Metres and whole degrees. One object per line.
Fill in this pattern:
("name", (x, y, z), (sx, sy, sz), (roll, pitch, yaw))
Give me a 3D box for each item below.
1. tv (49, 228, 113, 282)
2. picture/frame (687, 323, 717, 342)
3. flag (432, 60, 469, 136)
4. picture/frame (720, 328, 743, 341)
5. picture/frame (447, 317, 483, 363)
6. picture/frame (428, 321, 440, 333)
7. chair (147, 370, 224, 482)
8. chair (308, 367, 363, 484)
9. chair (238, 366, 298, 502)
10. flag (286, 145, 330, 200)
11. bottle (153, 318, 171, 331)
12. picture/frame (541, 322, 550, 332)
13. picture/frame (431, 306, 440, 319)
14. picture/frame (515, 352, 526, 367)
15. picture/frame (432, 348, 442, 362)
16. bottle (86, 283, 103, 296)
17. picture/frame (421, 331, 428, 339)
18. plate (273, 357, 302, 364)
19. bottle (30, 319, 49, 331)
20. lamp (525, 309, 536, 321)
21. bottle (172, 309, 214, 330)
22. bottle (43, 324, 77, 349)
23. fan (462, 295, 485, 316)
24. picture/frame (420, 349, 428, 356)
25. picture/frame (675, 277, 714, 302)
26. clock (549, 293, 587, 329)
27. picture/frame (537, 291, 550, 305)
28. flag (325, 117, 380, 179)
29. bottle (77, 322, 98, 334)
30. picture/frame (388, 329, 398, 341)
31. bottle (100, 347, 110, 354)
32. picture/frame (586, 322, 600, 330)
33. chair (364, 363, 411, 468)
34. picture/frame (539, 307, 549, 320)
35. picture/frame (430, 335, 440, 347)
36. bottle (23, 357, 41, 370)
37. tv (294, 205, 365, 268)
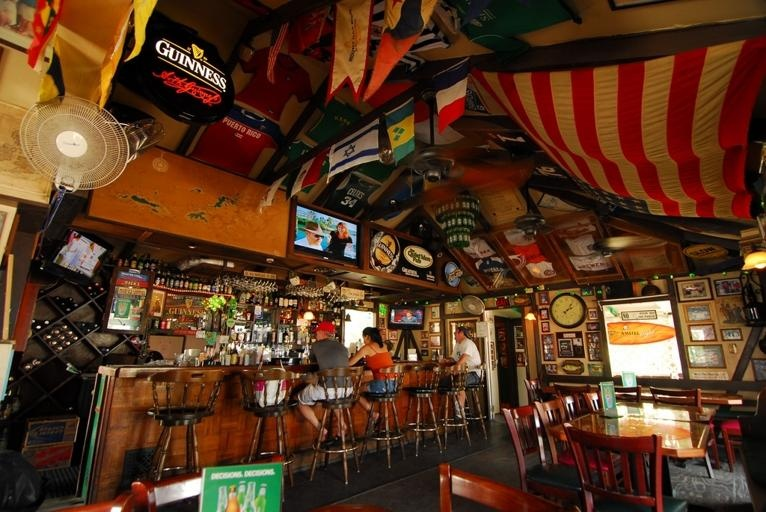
("tv", (-4.499, -0.027, 6.787), (0.181, 0.589, 0.645), (18, -17, 11))
("picture/frame", (5.635, 1.331, 8.035), (0.033, 0.302, 0.307), (15, -23, -33))
("flag", (0.788, -1.883, 5.298), (0.682, 0.710, 0.103), (-31, -35, 33))
("picture/frame", (5.950, 1.320, 7.788), (0.035, 0.195, 0.244), (24, -16, -29))
("picture/frame", (1.748, 1.754, 9.583), (0.651, 0.903, 0.666), (1, -45, 9))
("picture/frame", (1.243, 1.751, 11.385), (0.285, 0.236, 0.065), (0, -12, 30))
("chair", (-2.289, 1.892, 5.295), (0.791, 1.257, 0.823), (3, -5, -18))
("chair", (-0.637, 2.160, 6.217), (0.678, 1.404, 1.065), (3, -5, -8))
("chair", (-1.435, 2.122, 5.676), (0.699, 1.534, 0.746), (3, -5, -9))
("flag", (-1.176, -1.340, 7.026), (0.085, 0.766, 0.713), (34, -36, -25))
("bottle", (-3.903, 1.214, 8.147), (0.237, 0.199, 0.221), (-3, -15, 6))
("picture/frame", (3.450, 1.477, 9.679), (0.180, 0.239, 0.060), (-1, -6, 29))
("picture/frame", (1.324, 1.379, 11.511), (0.307, 0.362, 0.051), (-3, -7, 43))
("picture/frame", (3.279, 2.446, 10.890), (0.075, 0.261, 0.282), (8, -11, -34))
("picture/frame", (1.314, 2.359, 11.185), (0.189, 0.254, 0.330), (4, -5, -20))
("bottle", (-4.740, 0.558, 7.555), (0.258, 0.236, 0.113), (5, -6, -32))
("picture/frame", (1.067, 1.979, 11.593), (0.218, 0.185, 0.110), (-3, -11, 39))
("plate", (-1.461, 1.568, 6.861), (0.234, 0.052, 0.249), (-5, -10, 34))
("bottle", (-5.291, 1.051, 7.086), (0.308, 0.153, 0.175), (2, 15, 39))
("lamp", (3.156, 1.266, 9.879), (0.249, 0.216, 0.182), (-2, -6, 41))
("bottle", (-3.519, 1.182, 8.466), (0.644, 0.312, 0.404), (5, 11, -16))
("bottle", (-5.081, 1.273, 7.273), (0.208, 0.380, 0.389), (-30, 10, 19))
("fan", (2.080, 1.120, 10.425), (0.454, 0.474, 0.673), (0, -5, 17))
("picture/frame", (1.045, 2.397, 11.400), (0.218, 0.187, 0.023), (-5, -28, 32))
("picture/frame", (5.608, 0.588, 8.181), (0.034, 0.471, 0.511), (15, -11, -42))
("clock", (3.835, 1.108, 9.458), (0.117, 0.741, 0.706), (7, -7, -44))
("picture/frame", (3.456, 0.888, 9.812), (0.044, 0.368, 0.306), (16, -13, -35))
("flag", (-0.449, -1.577, 6.409), (1.170, 0.811, 0.083), (-20, -45, 26))
("bottle", (-4.805, 1.156, 7.452), (0.199, 0.074, 0.221), (12, -2, -2))
("picture/frame", (0.256, 2.004, 11.717), (0.375, 0.310, 0.049), (3, -14, -29))
("bottle", (-4.600, 1.566, 7.614), (0.135, 0.120, 0.095), (1, -5, 10))
("picture/frame", (4.188, 1.383, 9.099), (0.025, 0.121, 0.181), (27, -18, -28))
("chair", (0.033, 2.272, 6.815), (0.657, 1.371, 1.200), (2, -5, 3))
("picture/frame", (3.450, 1.216, 9.748), (0.043, 0.292, 0.275), (25, -21, -36))
("picture/frame", (1.309, 2.086, 11.353), (0.043, 0.252, 0.306), (18, -18, -36))
("bottle", (-5.324, 1.645, 6.970), (0.232, 0.174, 0.125), (5, -6, -39))
("tv", (-1.021, -0.380, 8.113), (0.169, 0.923, 1.746), (-7, -14, 38))
